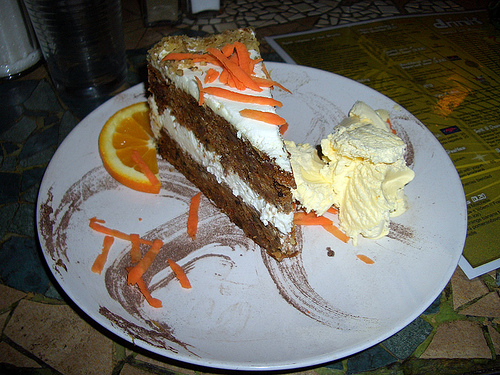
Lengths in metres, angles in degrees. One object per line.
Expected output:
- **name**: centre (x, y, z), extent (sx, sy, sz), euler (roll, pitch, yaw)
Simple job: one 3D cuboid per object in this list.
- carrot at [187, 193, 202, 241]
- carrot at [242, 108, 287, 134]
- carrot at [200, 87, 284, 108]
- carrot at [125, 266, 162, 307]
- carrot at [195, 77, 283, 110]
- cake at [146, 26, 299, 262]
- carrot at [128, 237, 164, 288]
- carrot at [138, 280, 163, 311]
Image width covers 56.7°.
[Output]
- **carrot**: centre (-0.305, 0.177, 2.553), extent (0.069, 0.020, 0.276), euler (7, 43, -10)
- **carrot**: centre (0.075, -0.328, 2.348), extent (0.255, 0.059, 0.082), euler (27, 49, 18)
- **carrot**: centre (-0.061, -0.457, 2.370), extent (0.564, 0.045, 0.085), euler (9, 54, 10)
- **carrot**: centre (-0.496, 0.524, 2.283), extent (0.053, 0.047, 0.191), euler (-31, 69, -24)
- **carrot**: centre (-0.051, -0.465, 2.372), extent (0.422, 0.035, 0.161), euler (7, 86, 13)
- **cake**: centre (-0.171, -0.181, 2.532), extent (0.461, 1.066, 1.018), euler (-27, 50, -26)
- **carrot**: centre (-0.525, 0.381, 2.363), extent (0.083, 0.035, 0.289), euler (28, 35, 1)
- **carrot**: centre (-0.478, 0.518, 2.249), extent (0.063, 0.026, 0.207), euler (-20, 46, -28)
